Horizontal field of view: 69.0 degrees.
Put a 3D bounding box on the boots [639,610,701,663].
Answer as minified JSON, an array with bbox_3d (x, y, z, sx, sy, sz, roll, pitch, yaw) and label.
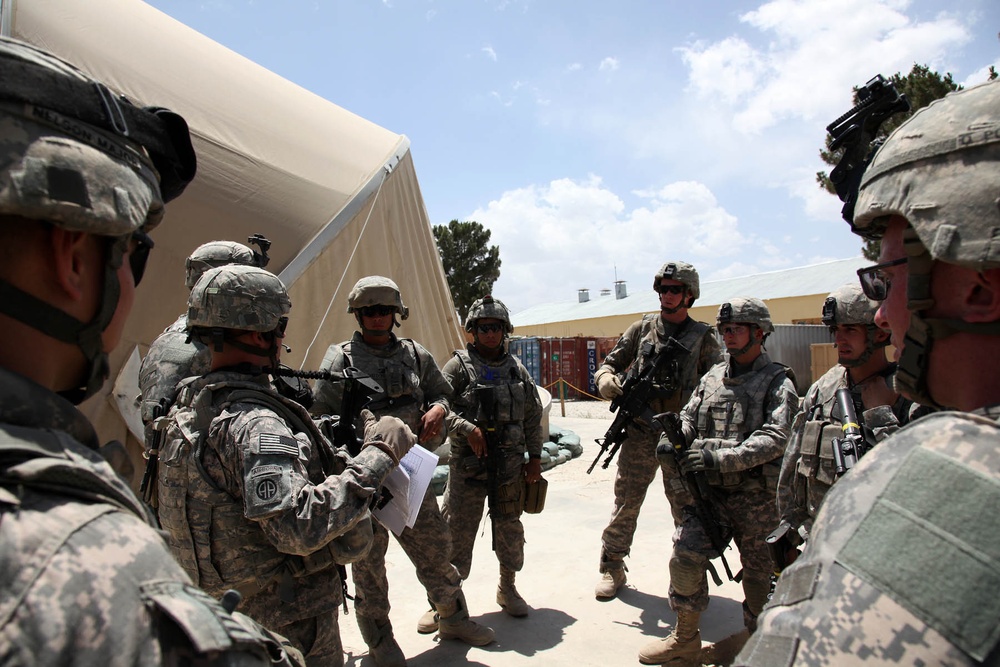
[{"bbox_3d":[1.101,1.934,4.705,0.509,0.392,0.218,0,-6,0],"label":"boots"}]

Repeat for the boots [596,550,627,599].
[{"bbox_3d":[0.849,1.839,5.590,0.130,0.273,0.381,-8,1,36],"label":"boots"}]

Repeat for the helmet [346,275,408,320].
[{"bbox_3d":[-0.883,-0.306,5.214,0.337,0.277,0.351,2,-30,-10],"label":"helmet"}]

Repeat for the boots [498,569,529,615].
[{"bbox_3d":[0.093,1.844,5.273,0.129,0.267,0.350,6,-3,-33],"label":"boots"}]

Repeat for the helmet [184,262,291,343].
[{"bbox_3d":[-1.107,-0.164,3.121,0.378,0.310,0.298,-8,15,-38],"label":"helmet"}]

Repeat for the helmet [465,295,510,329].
[{"bbox_3d":[-0.098,-0.173,5.738,0.266,0.194,0.367,2,-16,-4],"label":"helmet"}]

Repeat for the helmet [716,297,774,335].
[{"bbox_3d":[1.724,-0.130,5.089,0.295,0.184,0.294,-1,-6,-18],"label":"helmet"}]

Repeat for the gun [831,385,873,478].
[{"bbox_3d":[1.743,0.482,3.610,0.138,0.540,0.229,2,-43,16],"label":"gun"}]
